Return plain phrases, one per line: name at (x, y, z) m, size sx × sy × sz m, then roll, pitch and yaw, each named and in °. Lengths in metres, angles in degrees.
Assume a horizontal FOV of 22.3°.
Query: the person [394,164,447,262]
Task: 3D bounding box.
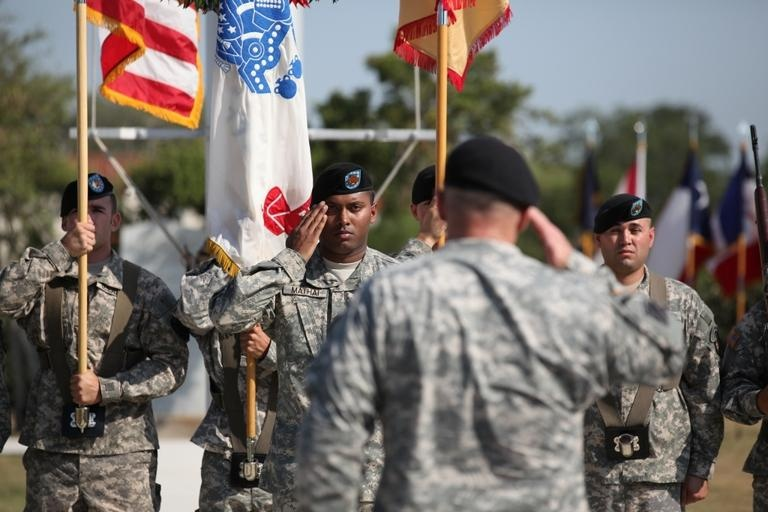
person at (0.726, -0.479, 26.765) m, size 0.953 × 1.151 × 1.069 m, roll 1°, pitch -14°, yaw -2°
